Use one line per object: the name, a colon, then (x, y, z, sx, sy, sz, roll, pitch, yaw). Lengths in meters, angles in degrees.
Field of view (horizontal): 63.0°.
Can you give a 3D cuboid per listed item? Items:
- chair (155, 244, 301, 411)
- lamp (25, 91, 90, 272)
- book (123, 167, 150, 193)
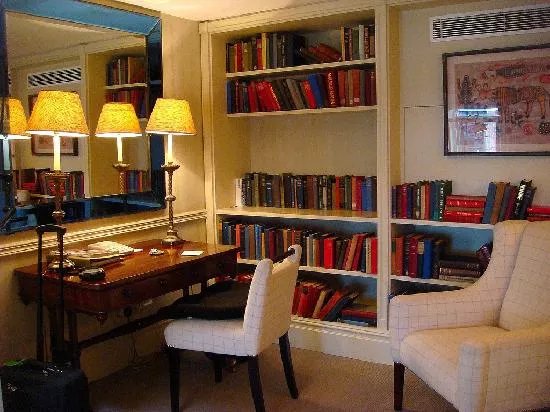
chair: (-0.190, 0.662, 3.291, 1.085, 1.428, 1.000, 2, 0, 14)
lamp: (-1.297, -0.176, 2.756, 0.327, 1.080, 0.625, -7, 12, -27)
book: (-1.049, -0.189, 3.429, 0.159, 0.194, 0.210, 1, 1, 16)
